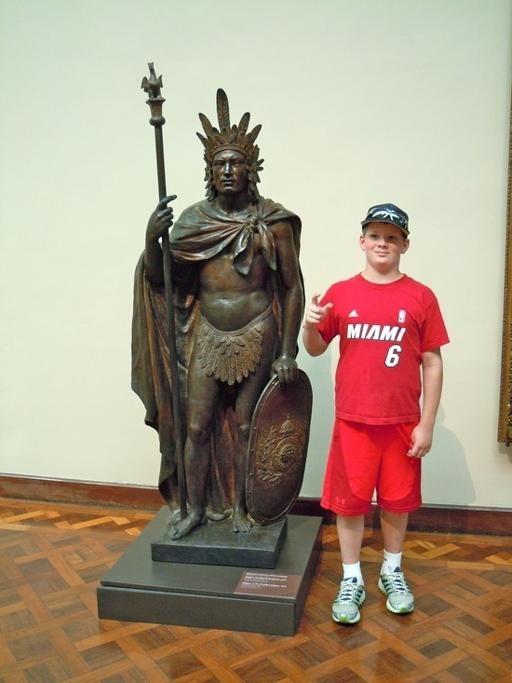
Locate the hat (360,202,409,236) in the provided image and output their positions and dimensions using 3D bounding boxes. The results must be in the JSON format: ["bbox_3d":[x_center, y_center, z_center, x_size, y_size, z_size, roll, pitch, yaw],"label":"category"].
[{"bbox_3d":[0.468,-0.438,2.650,0.152,0.114,0.150,-8,12,-36],"label":"hat"}]

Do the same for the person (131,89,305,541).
[{"bbox_3d":[-0.154,-0.101,2.943,0.701,1.741,0.355,-1,10,-2],"label":"person"}]

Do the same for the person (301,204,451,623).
[{"bbox_3d":[0.438,0.273,2.728,0.526,1.533,0.366,0,10,3],"label":"person"}]
